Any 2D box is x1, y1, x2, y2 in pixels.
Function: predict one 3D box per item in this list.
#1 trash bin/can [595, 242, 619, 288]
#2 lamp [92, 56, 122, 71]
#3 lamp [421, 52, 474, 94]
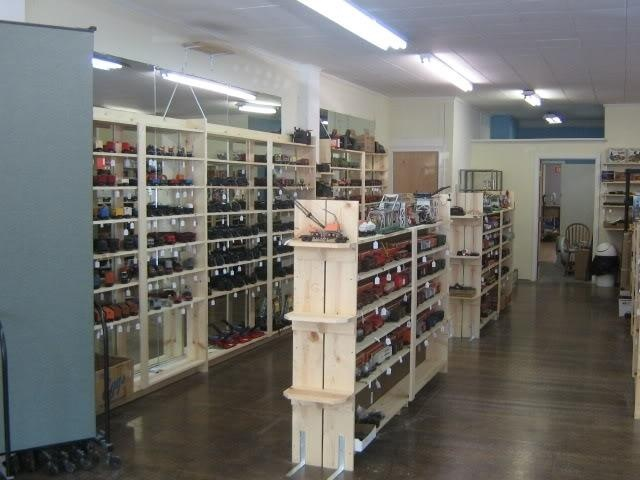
[{"bbox_3d":[6.431,0.564,11.721,0.513,0.936,0.475,4,8,24],"label":"trash bin/can"},{"bbox_3d":[-2.294,-1.883,5.661,0.055,0.139,0.382,4,8,24],"label":"lamp"},{"bbox_3d":[2.170,-2.903,9.051,0.278,0.205,2.060,-32,-12,23],"label":"lamp"}]
